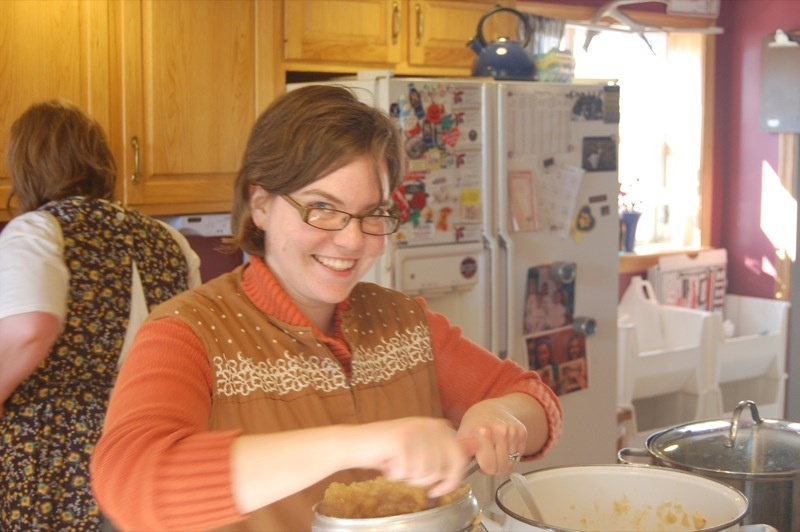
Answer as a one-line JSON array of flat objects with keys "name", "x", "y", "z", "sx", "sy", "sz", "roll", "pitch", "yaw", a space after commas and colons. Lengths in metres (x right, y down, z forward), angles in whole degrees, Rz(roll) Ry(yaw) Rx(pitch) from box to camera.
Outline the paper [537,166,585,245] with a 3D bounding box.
[{"name": "paper", "x": 0.703, "y": -0.276, "z": 2.988, "sx": 0.232, "sy": 0.303, "sz": 0.084, "roll": 15, "pitch": -4, "yaw": -22}]

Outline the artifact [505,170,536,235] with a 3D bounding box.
[{"name": "artifact", "x": 0.526, "y": -0.273, "z": 2.896, "sx": 0.180, "sy": 0.234, "sz": 0.057, "roll": 1, "pitch": -3, "yaw": -13}]

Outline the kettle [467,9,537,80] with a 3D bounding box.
[{"name": "kettle", "x": 0.405, "y": -0.996, "z": 3.035, "sx": 0.369, "sy": 0.351, "sz": 0.285, "roll": -3, "pitch": 9, "yaw": -14}]
